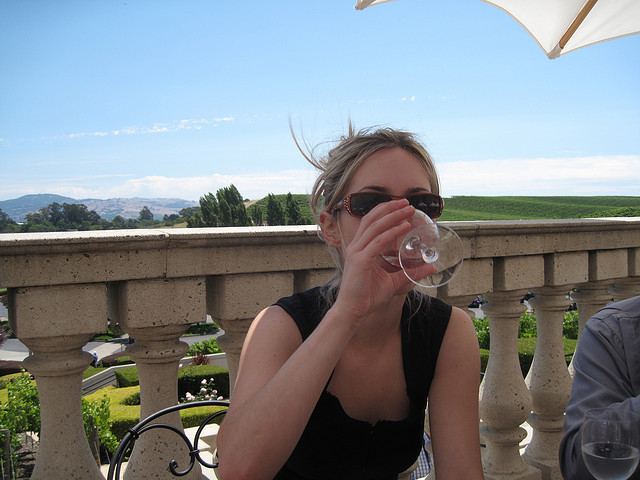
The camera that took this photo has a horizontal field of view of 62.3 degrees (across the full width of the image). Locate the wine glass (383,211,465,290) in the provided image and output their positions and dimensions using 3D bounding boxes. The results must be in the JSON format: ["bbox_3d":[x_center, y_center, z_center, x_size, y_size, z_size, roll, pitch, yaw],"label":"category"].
[{"bbox_3d":[0.396,0.027,2.175,0.294,0.334,0.254,-10,15,-14],"label":"wine glass"}]
